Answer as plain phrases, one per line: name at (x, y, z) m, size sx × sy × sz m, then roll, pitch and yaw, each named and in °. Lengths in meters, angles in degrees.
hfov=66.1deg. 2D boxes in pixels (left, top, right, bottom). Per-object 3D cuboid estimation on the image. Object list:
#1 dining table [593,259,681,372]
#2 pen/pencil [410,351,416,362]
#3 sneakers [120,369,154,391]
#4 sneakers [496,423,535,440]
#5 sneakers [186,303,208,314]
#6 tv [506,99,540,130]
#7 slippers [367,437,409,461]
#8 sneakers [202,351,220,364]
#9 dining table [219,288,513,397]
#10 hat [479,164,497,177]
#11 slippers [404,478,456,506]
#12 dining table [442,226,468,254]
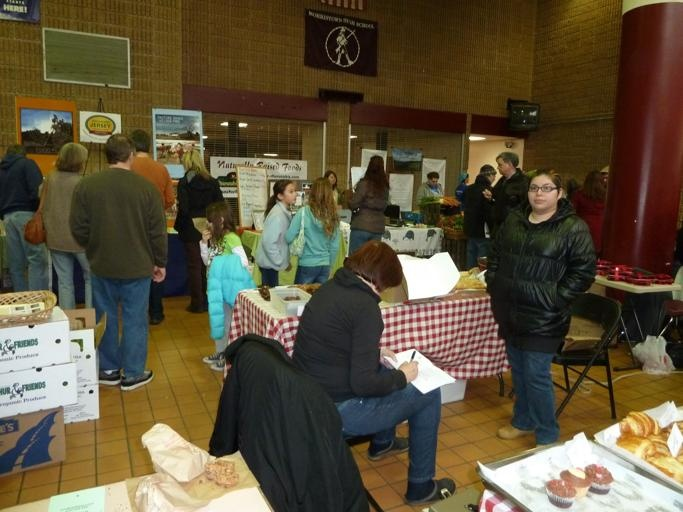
dining table at (2.760, 0.586, 4.894) m, size 0.677 × 0.934 × 0.915 m, roll 0°, pitch 7°, yaw -13°
pen/pencil at (0.419, 0.586, 3.086) m, size 0.016 × 0.009 × 0.102 m, roll 7°, pitch 27°, yaw 19°
sneakers at (-1.673, 1.029, 4.357) m, size 0.093 × 0.123 × 0.272 m, roll 12°, pitch 19°, yaw 34°
sneakers at (1.261, 1.268, 3.811) m, size 0.242 × 0.113 × 0.094 m, roll 3°, pitch 2°, yaw -11°
sneakers at (-1.718, 0.615, 6.256) m, size 0.236 × 0.112 × 0.096 m, roll 5°, pitch 2°, yaw 15°
tv at (3.920, -3.066, 11.419) m, size 0.578 × 0.585 × 0.312 m, roll -1°, pitch 14°, yaw -13°
slippers at (0.312, 1.293, 3.578) m, size 0.298 × 0.128 × 0.110 m, roll -7°, pitch 8°, yaw -29°
sneakers at (-1.192, 0.937, 4.873) m, size 0.242 × 0.115 × 0.091 m, roll -2°, pitch -4°, yaw 27°
dining table at (0.344, 0.541, 3.827) m, size 1.532 × 0.469 × 0.904 m, roll -5°, pitch 15°, yaw -22°
hat at (2.009, -1.157, 7.257) m, size 0.220 × 0.204 × 0.170 m, roll -22°, pitch 29°, yaw -40°
slippers at (0.520, 1.369, 3.127) m, size 0.300 × 0.129 × 0.168 m, roll -8°, pitch 9°, yaw -17°
dining table at (1.744, -0.263, 8.193) m, size 0.368 × 0.394 × 0.375 m, roll -4°, pitch 7°, yaw -24°
